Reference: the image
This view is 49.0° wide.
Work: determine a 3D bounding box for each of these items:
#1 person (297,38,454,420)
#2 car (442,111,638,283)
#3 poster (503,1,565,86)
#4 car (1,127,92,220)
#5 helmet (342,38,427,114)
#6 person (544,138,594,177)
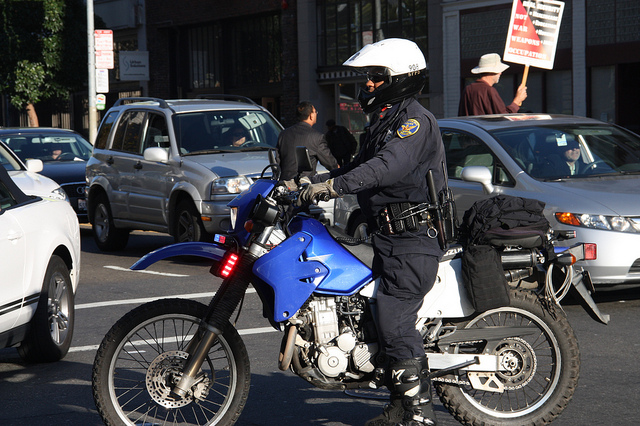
[{"bbox_3d":[0.548,0.103,5.049,0.773,2.597,0.788,2,12,18],"label":"person"},{"bbox_3d":[2.833,-0.343,9.124,1.821,1.401,2.902,-1,1,-34],"label":"car"},{"bbox_3d":[3.317,-2.749,10.972,1.079,1.007,0.396,-7,12,-24],"label":"poster"},{"bbox_3d":[-6.196,-0.955,16.321,2.110,1.932,4.529,0,2,-30],"label":"car"},{"bbox_3d":[0.440,-0.999,5.228,0.602,0.498,0.443,0,3,-3],"label":"helmet"},{"bbox_3d":[3.166,-0.676,8.888,0.859,0.486,0.366,3,-3,-10],"label":"person"}]
